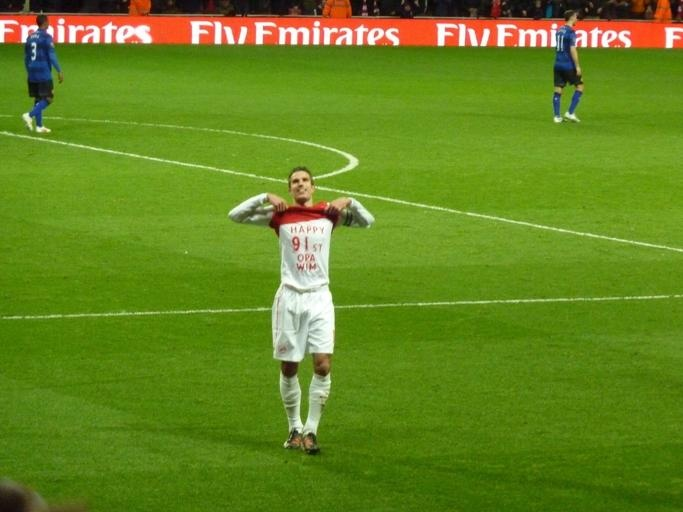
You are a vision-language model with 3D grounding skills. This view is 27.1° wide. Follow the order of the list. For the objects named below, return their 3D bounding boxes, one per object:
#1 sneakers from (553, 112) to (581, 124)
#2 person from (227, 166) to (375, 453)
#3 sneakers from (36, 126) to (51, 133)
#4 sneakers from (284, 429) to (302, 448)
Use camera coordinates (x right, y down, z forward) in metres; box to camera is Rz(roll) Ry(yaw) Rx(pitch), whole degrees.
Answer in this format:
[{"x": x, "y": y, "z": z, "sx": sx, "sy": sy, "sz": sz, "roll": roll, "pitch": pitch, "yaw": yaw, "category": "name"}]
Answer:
[{"x": 4.350, "y": -2.700, "z": 27.364, "sx": 0.609, "sy": 0.255, "sz": 0.221, "roll": -1, "pitch": 5, "yaw": 0, "category": "sneakers"}, {"x": -0.375, "y": 0.637, "z": 13.632, "sx": 1.182, "sy": 2.468, "sz": 0.541, "roll": 0, "pitch": 9, "yaw": -1, "category": "person"}, {"x": -5.112, "y": -2.218, "z": 24.557, "sx": 0.296, "sy": 0.131, "sz": 0.107, "roll": -2, "pitch": 13, "yaw": -25, "category": "sneakers"}, {"x": -0.449, "y": 1.769, "z": 13.715, "sx": 0.197, "sy": 0.193, "sz": 0.134, "roll": 3, "pitch": 0, "yaw": 17, "category": "sneakers"}]
